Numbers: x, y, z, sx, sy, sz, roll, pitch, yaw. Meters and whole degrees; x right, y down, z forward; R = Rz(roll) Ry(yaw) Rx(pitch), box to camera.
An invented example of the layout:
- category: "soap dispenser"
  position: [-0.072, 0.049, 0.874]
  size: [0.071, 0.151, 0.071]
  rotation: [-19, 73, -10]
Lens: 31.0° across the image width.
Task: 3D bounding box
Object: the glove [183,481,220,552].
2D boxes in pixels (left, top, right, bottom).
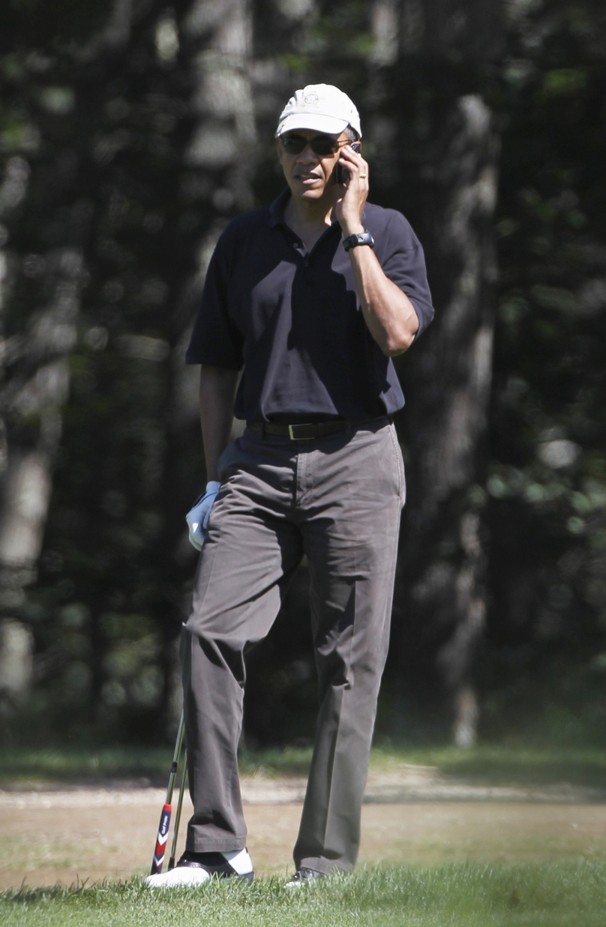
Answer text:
- category: "glove"
  position: [-0.263, 0.147, 2.759]
  size: [0.073, 0.164, 0.118]
  rotation: [10, 47, -12]

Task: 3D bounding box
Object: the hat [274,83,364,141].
- category: "hat"
  position: [0.036, -0.844, 2.695]
  size: [0.157, 0.093, 0.195]
  rotation: [4, 2, 14]

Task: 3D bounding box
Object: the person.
- category: "person"
  position: [-0.004, 0.015, 2.578]
  size: [0.591, 1.841, 0.786]
  rotation: [4, 10, -4]

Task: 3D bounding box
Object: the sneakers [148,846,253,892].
- category: "sneakers"
  position: [-0.224, 0.887, 2.408]
  size: [0.220, 0.073, 0.080]
  rotation: [-2, -8, -12]

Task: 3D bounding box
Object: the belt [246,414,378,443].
- category: "belt"
  position: [0.028, -0.079, 2.591]
  size: [0.317, 0.068, 0.102]
  rotation: [4, 9, 2]
